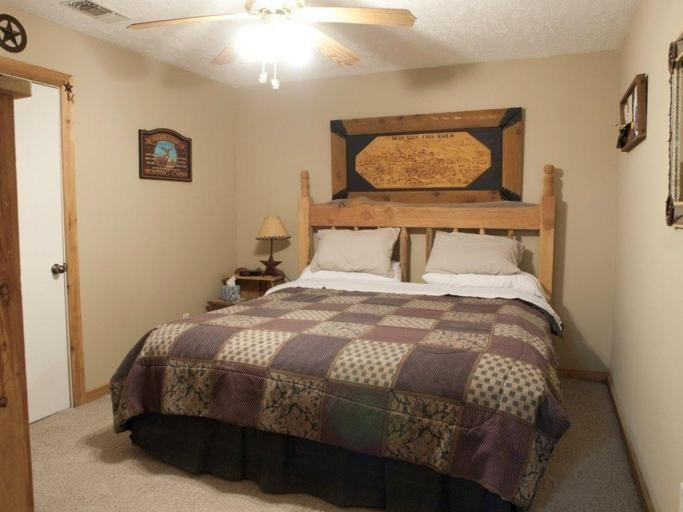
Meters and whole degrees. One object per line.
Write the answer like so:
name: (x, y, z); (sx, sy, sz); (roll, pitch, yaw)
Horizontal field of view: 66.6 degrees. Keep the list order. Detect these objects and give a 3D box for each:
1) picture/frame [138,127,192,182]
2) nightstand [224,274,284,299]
picture/frame: (-1.476, -0.845, 4.277); (0.053, 0.435, 0.517); (3, 3, 30)
nightstand: (-0.773, 0.263, 4.754); (0.359, 0.342, 0.266); (3, 6, 25)
